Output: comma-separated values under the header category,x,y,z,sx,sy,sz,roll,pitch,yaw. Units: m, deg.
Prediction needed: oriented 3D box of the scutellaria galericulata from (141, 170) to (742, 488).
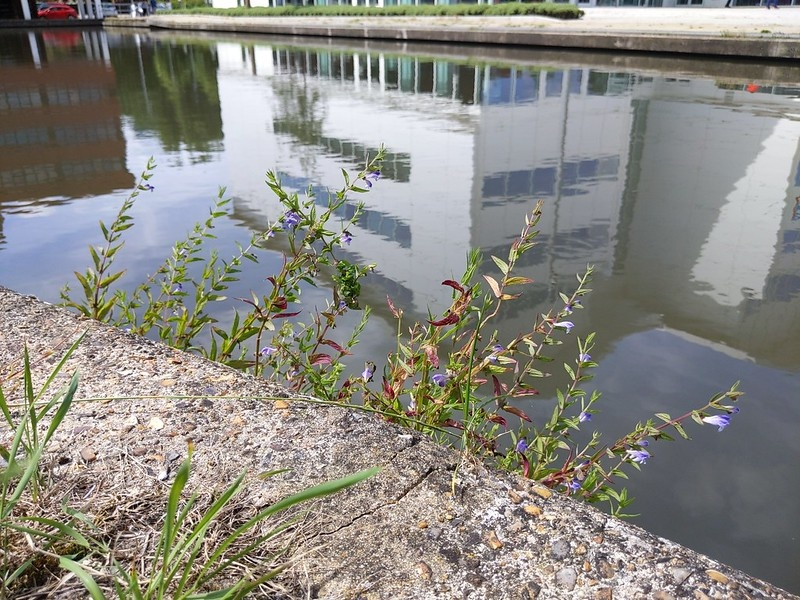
category,x,y,z,sx,sy,sz,roll,pitch,yaw
scutellaria galericulata,0.235,0.094,2.860,1.908,0.650,1.163,27,-3,3
